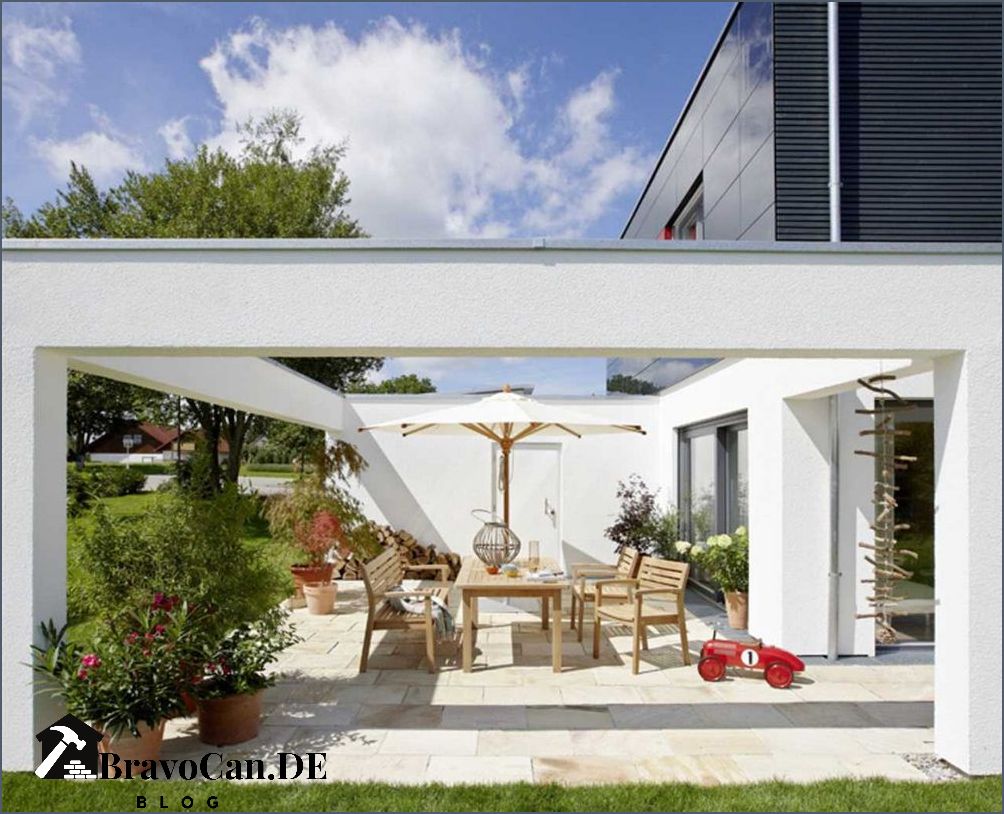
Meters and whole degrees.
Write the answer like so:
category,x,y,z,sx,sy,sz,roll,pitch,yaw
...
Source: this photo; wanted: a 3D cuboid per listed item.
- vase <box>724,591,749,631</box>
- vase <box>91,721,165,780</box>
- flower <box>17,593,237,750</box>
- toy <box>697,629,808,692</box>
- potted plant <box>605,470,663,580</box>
category,x,y,z,sx,sy,sz,roll,pitch,yaw
vase,2.630,2.341,9.063,0.314,0.369,0.344,4,-13,-9
vase,-2.659,2.412,5.692,0.384,0.311,0.392,0,-16,-3
flower,-2.738,1.876,5.659,0.925,0.733,1.033,3,-8,-14
toy,2.293,2.304,7.367,0.858,0.418,0.518,0,-10,14
potted plant,2.004,1.654,11.982,1.083,1.726,1.115,2,-11,-4
